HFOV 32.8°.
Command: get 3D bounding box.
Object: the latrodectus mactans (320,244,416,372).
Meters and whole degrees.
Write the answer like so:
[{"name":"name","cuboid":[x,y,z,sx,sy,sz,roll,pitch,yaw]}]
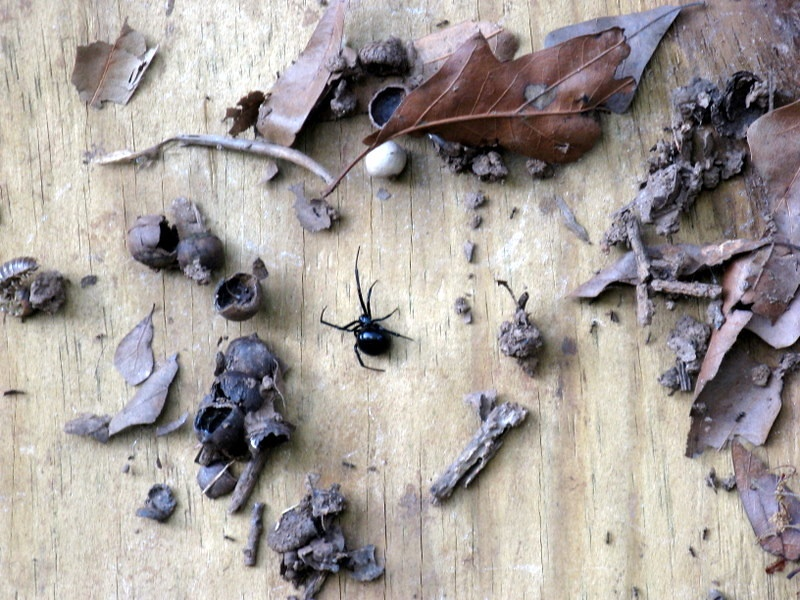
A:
[{"name":"latrodectus mactans","cuboid":[-0.151,0.088,6.476,0.486,0.288,0.263,43,49,15]}]
